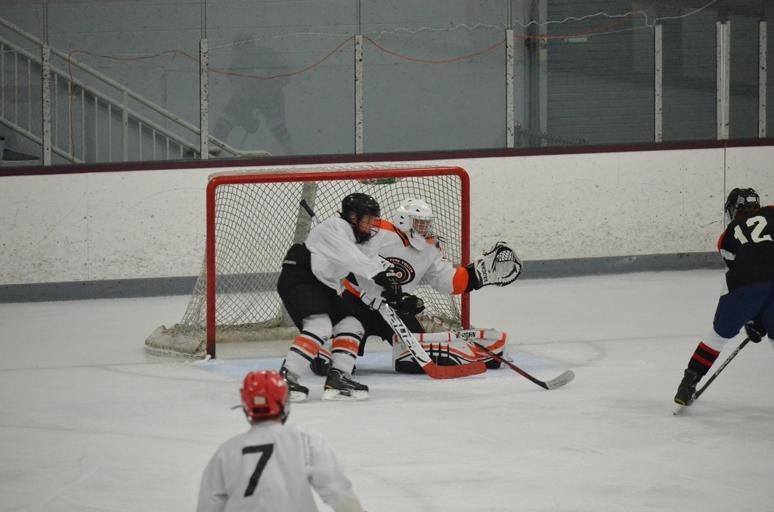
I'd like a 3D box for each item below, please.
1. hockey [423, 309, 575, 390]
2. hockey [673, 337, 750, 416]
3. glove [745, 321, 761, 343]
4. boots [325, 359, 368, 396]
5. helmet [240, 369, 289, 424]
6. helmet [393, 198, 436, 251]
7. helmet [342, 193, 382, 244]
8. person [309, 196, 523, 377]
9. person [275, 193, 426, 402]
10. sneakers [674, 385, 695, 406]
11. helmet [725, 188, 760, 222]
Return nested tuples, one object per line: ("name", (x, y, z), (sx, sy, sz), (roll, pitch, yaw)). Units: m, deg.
("hockey", (0.882, 0.775, 10.903), (0.192, 0.161, 1.348), (19, 5, -39))
("hockey", (2.426, 0.921, 10.061), (0.080, 0.691, 0.054), (36, 10, -40))
("glove", (2.694, 0.550, 9.889), (0.117, 0.149, 0.131), (15, 25, 30))
("boots", (-0.335, 0.954, 10.065), (0.412, 0.282, 0.154), (1, -10, -11))
("helmet", (-0.726, 0.845, 8.143), (0.253, 0.311, 0.322), (-2, -2, -2))
("helmet", (0.208, -0.247, 10.442), (0.397, 0.381, 0.300), (15, 16, 36))
("helmet", (-0.207, -0.314, 10.584), (0.330, 0.394, 0.303), (-3, 7, 3))
("person", (0.226, 0.207, 10.578), (1.567, 1.446, 1.153), (3, 4, 31))
("person", (-0.379, 0.299, 10.257), (0.914, 1.510, 0.624), (-1, 7, -5))
("sneakers", (2.151, 1.006, 9.748), (0.115, 0.166, 0.170), (28, -12, -2))
("helmet", (2.641, -0.394, 10.109), (0.257, 0.300, 0.281), (0, 3, 12))
